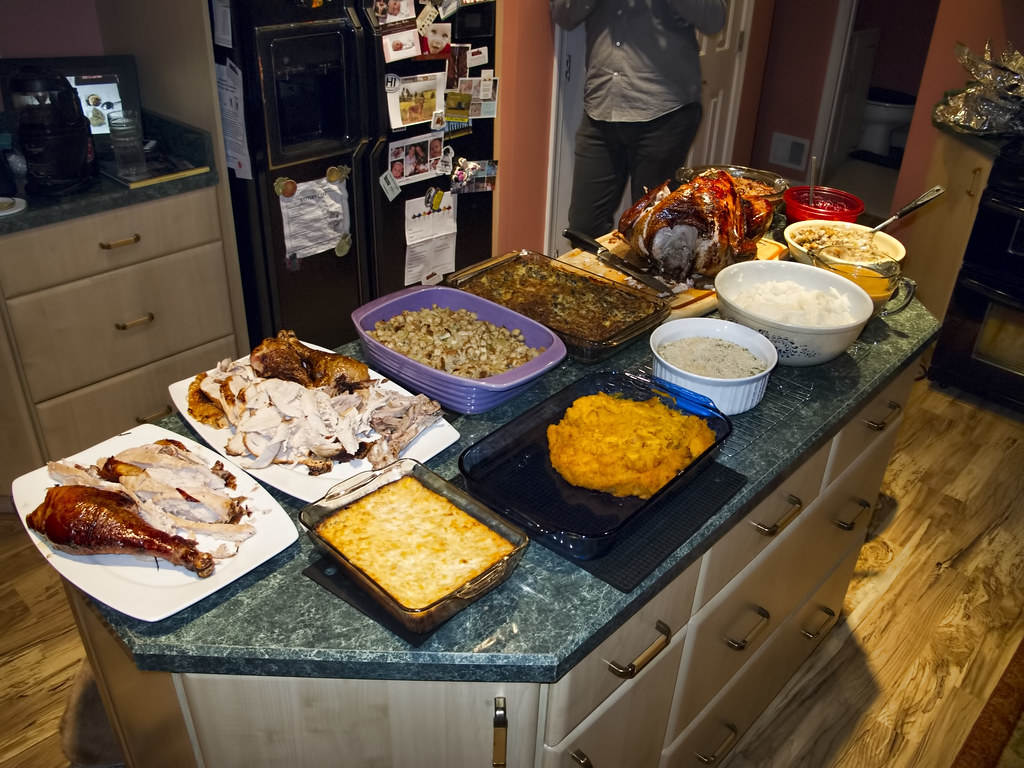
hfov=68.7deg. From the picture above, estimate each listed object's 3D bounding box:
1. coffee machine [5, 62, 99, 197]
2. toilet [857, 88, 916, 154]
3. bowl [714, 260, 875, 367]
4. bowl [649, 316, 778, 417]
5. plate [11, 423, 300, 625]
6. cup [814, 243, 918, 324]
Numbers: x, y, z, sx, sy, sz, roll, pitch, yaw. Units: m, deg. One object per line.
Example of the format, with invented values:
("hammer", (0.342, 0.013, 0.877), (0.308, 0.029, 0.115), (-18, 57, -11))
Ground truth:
("coffee machine", (-1.818, -0.991, 2.952), (0.251, 0.394, 0.330), (-13, 36, -22))
("toilet", (3.329, -2.394, 6.928), (0.510, 0.416, 0.535), (-28, 43, -34))
("bowl", (0.830, -0.162, 2.102), (0.288, 0.130, 0.297), (-6, 28, 3))
("bowl", (0.518, -0.023, 1.996), (0.279, 0.106, 0.283), (3, 40, -2))
("plate", (-0.745, 0.279, 1.560), (0.550, 0.131, 0.402), (30, 42, 33))
("cup", (1.076, -0.307, 2.300), (0.276, 0.198, 0.221), (14, 45, 16))
